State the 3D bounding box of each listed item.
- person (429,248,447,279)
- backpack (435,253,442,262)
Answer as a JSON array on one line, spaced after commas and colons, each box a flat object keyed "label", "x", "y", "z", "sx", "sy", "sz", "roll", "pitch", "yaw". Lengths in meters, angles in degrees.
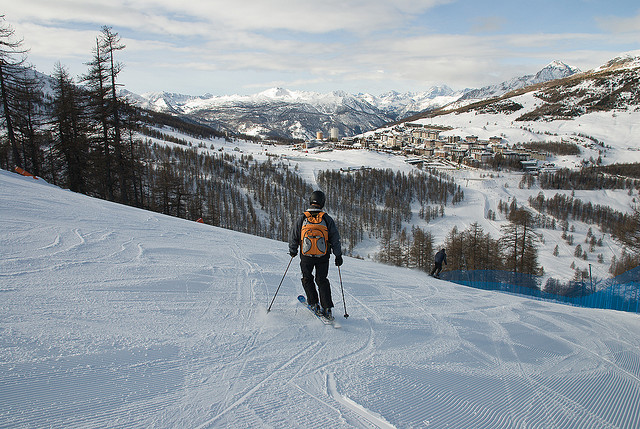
[{"label": "person", "x": 6.628, "y": 2.783, "z": 29.015, "sx": 0.723, "sy": 1.697, "sz": 1.577, "roll": 4, "pitch": 6, "yaw": 12}, {"label": "backpack", "x": 6.556, "y": 2.359, "z": 28.625, "sx": 0.494, "sy": 0.666, "sz": 0.360, "roll": 1, "pitch": -2, "yaw": 7}]
